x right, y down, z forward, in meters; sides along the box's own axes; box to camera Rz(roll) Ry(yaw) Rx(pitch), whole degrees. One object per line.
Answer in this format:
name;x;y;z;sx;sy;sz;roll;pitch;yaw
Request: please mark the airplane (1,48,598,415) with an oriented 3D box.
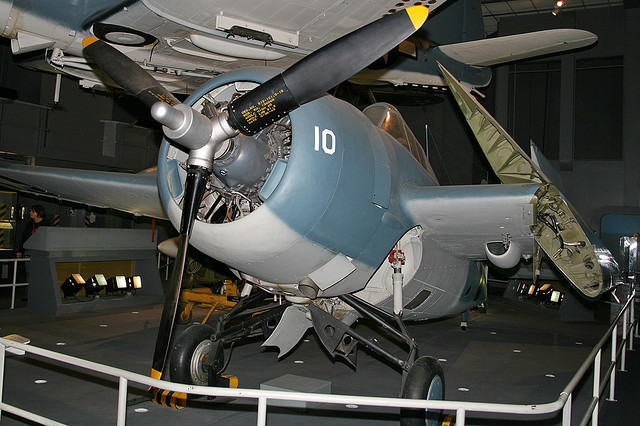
airplane;1.036;0.174;7.217;5.156;2.697;6.606;-1;-14;37
